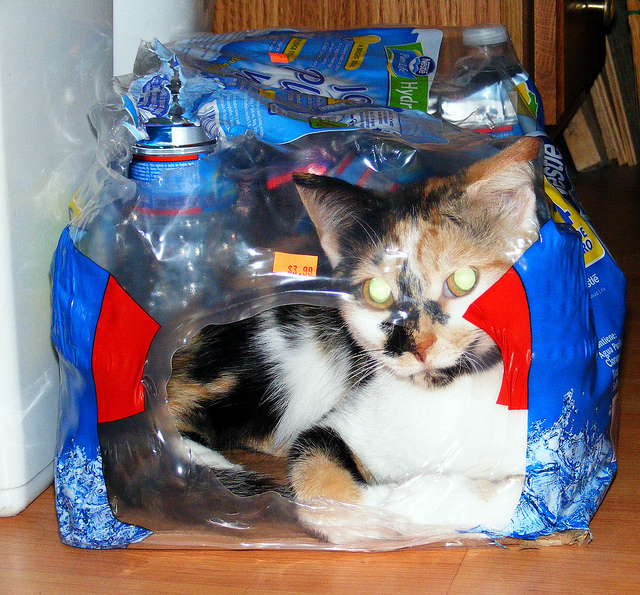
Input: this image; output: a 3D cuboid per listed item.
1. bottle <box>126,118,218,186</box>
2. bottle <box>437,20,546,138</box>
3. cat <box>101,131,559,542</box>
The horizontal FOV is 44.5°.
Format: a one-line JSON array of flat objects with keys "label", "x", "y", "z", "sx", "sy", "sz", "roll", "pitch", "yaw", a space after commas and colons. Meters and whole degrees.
[{"label": "bottle", "x": -0.145, "y": -0.140, "z": 0.760, "sx": 0.086, "sy": 0.061, "sz": 0.087, "roll": -1, "pitch": 17, "yaw": 0}, {"label": "bottle", "x": 0.218, "y": -0.273, "z": 0.984, "sx": 0.133, "sy": 0.111, "sz": 0.339, "roll": 8, "pitch": 29, "yaw": 12}, {"label": "cat", "x": -0.004, "y": 0.019, "z": 0.827, "sx": 0.482, "sy": 0.349, "sz": 0.436, "roll": 6, "pitch": 26, "yaw": 23}]
